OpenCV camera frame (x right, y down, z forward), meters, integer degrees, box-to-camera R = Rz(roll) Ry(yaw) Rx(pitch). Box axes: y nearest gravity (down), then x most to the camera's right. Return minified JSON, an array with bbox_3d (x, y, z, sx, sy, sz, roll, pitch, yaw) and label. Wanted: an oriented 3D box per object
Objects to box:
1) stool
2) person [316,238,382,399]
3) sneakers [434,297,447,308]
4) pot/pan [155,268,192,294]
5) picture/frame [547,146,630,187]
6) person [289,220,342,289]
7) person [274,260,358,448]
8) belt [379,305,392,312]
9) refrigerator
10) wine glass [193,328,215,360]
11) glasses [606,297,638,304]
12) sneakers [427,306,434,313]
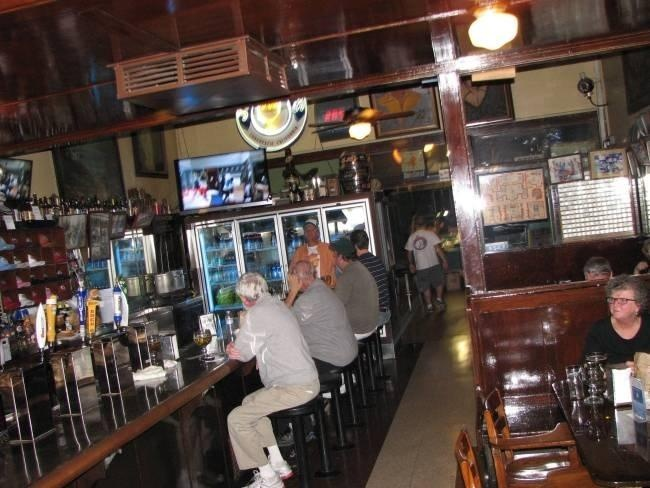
[{"bbox_3d":[0.029,1.098,4.306,0.788,0.456,1.528,2,9,11],"label":"stool"},{"bbox_3d":[0.222,0.492,5.529,0.565,1.024,0.592,2,3,15],"label":"person"},{"bbox_3d":[2.101,1.050,9.457,0.282,0.197,0.098,2,8,12],"label":"sneakers"},{"bbox_3d":[-2.210,0.545,7.645,0.173,0.315,0.522,-3,6,28],"label":"pot/pan"},{"bbox_3d":[1.982,-0.582,3.986,0.577,0.219,0.099,-7,6,-5],"label":"picture/frame"},{"bbox_3d":[-0.164,0.268,7.100,0.690,1.094,0.519,-1,-3,-3],"label":"person"},{"bbox_3d":[-0.032,0.633,4.532,0.905,1.523,0.590,3,4,18],"label":"person"},{"bbox_3d":[0.681,0.739,6.081,0.105,0.050,0.137,-1,-3,-3],"label":"belt"},{"bbox_3d":[-0.410,0.084,6.658,1.488,1.262,0.458,-7,-3,9],"label":"refrigerator"},{"bbox_3d":[-0.930,0.747,4.065,0.114,0.204,0.408,-7,6,-14],"label":"wine glass"},{"bbox_3d":[1.908,0.356,3.392,0.164,0.046,0.056,-4,6,20],"label":"glasses"},{"bbox_3d":[1.867,1.129,9.356,0.103,0.138,0.192,-5,6,11],"label":"sneakers"}]
